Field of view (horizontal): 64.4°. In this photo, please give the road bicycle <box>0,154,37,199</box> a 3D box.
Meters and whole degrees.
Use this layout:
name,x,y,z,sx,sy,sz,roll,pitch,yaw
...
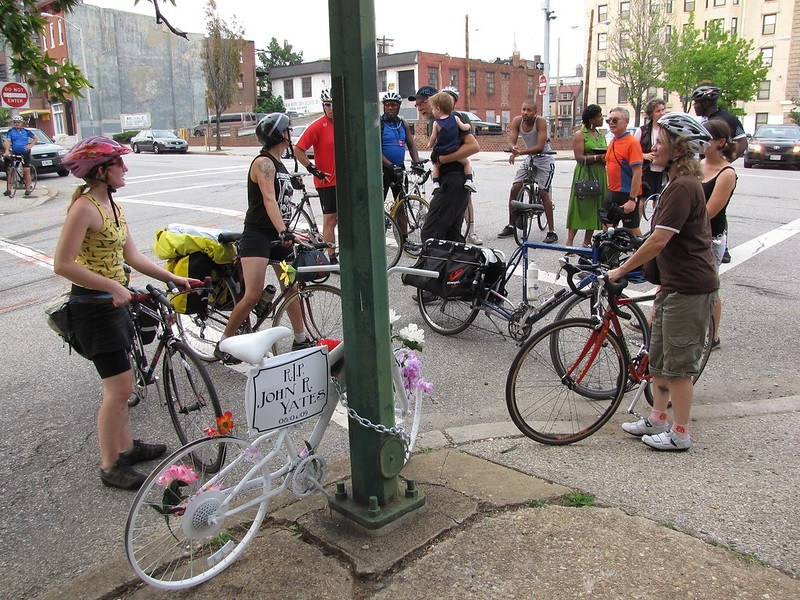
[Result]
name,x,y,z,sx,sy,sz,roll,pitch,yaw
road bicycle,-10.775,-3.543,18.072,0.683,1.105,1.793,2,14,-5

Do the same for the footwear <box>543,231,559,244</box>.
name,x,y,z,sx,sy,sz,roll,pitch,yaw
footwear,2.382,-0.995,10.186,0.114,0.149,0.354,3,7,28

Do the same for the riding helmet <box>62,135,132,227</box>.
name,x,y,z,sx,sy,sz,roll,pitch,yaw
riding helmet,-2.044,-0.861,4.291,0.419,0.406,0.382,-11,21,-23

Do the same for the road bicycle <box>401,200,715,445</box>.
name,x,y,z,sx,sy,sz,roll,pitch,yaw
road bicycle,1.217,0.110,4.904,2.275,1.601,1.121,-4,10,-29

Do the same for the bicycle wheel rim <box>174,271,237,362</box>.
name,x,y,z,sx,sy,sz,roll,pitch,yaw
bicycle wheel rim,-1.878,0.146,6.157,0.533,0.718,1.045,-11,18,-41

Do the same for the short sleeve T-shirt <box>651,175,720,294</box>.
name,x,y,z,sx,sy,sz,roll,pitch,yaw
short sleeve T-shirt,2.079,-0.473,4.697,0.458,0.879,0.733,5,10,33

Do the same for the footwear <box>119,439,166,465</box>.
name,x,y,z,sx,sy,sz,roll,pitch,yaw
footwear,-1.886,1.126,4.753,0.359,0.171,0.123,-10,39,-22

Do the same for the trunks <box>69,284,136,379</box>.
name,x,y,z,sx,sy,sz,roll,pitch,yaw
trunks,-2.036,0.211,4.344,0.364,0.600,0.299,-13,22,-26

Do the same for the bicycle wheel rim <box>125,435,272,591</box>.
name,x,y,z,sx,sy,sz,roll,pitch,yaw
bicycle wheel rim,-1.121,1.250,3.634,0.764,0.825,0.225,-5,19,-36

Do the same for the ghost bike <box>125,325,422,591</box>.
name,x,y,z,sx,sy,sz,roll,pitch,yaw
ghost bike,-0.736,0.769,4.004,0.990,1.293,2.090,14,23,41

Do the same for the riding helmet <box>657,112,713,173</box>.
name,x,y,z,sx,sy,sz,roll,pitch,yaw
riding helmet,2.025,-1.145,4.595,0.335,0.386,0.342,12,25,36

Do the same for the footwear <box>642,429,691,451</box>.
name,x,y,z,sx,sy,sz,roll,pitch,yaw
footwear,1.955,1.009,4.749,0.340,0.170,0.144,3,13,18

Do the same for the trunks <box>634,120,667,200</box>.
name,x,y,z,sx,sy,sz,roll,pitch,yaw
trunks,3.977,-2.102,9.940,0.473,1.393,0.409,-2,11,19

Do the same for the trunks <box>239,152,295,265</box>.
name,x,y,z,sx,sy,sz,roll,pitch,yaw
trunks,-1.215,-0.802,5.859,0.557,1.250,0.506,-5,0,-24

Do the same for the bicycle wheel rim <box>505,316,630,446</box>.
name,x,y,z,sx,sy,sz,roll,pitch,yaw
bicycle wheel rim,1.264,0.628,4.901,0.989,1.113,0.165,-11,24,-4

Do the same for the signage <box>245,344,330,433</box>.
name,x,y,z,sx,sy,sz,roll,pitch,yaw
signage,-0.643,0.509,3.650,0.638,0.538,0.107,-14,22,-35

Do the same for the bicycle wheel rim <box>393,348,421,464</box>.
name,x,y,z,sx,sy,sz,roll,pitch,yaw
bicycle wheel rim,0.007,0.669,4.319,0.155,0.827,0.246,-1,3,38

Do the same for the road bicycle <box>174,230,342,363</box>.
name,x,y,z,sx,sy,sz,roll,pitch,yaw
road bicycle,-1.384,-0.173,5.963,1.723,1.185,0.894,6,15,15

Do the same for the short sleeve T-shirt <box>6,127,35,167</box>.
name,x,y,z,sx,sy,sz,roll,pitch,yaw
short sleeve T-shirt,-10.650,-4.322,17.870,0.713,1.258,0.923,-12,22,-25
